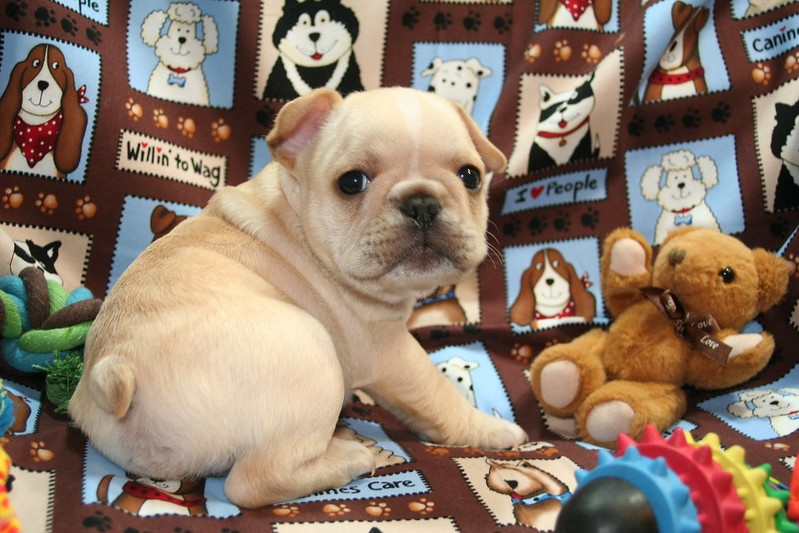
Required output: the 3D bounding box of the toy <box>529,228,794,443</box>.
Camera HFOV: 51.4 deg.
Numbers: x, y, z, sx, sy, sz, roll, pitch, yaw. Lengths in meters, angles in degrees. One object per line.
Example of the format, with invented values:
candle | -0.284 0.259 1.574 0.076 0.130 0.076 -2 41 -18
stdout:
toy | 0.791 0.194 2.690 0.759 0.574 0.587 -17 31 -22
